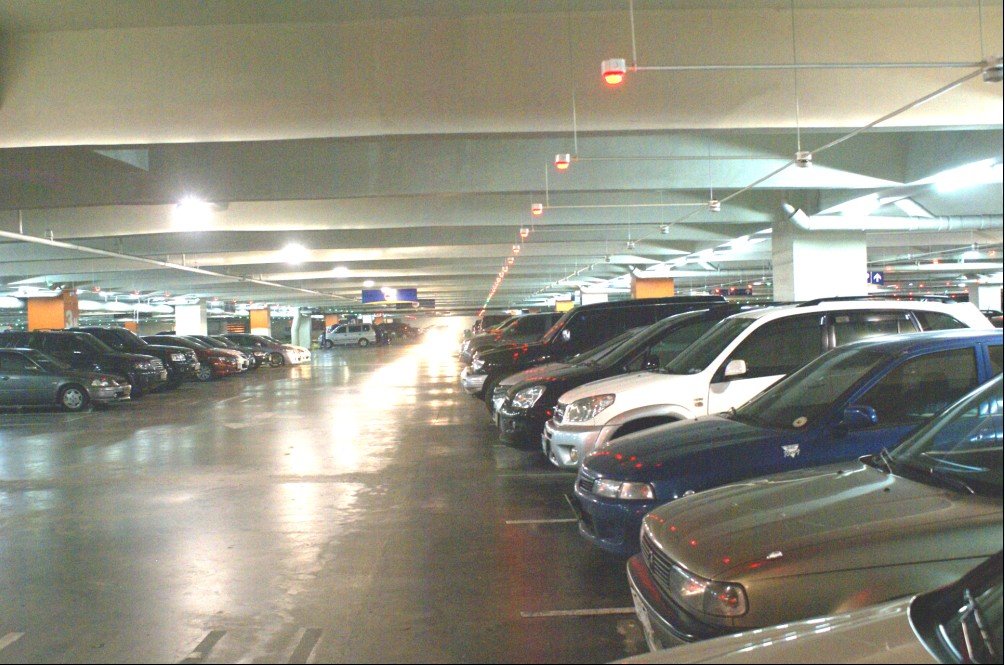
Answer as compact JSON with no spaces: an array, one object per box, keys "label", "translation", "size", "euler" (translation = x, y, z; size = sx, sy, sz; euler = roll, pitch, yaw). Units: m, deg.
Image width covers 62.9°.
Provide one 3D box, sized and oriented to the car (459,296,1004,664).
[{"label":"car","translation":[3.369,1.354,12.078],"size":[7.173,3.259,3.877],"euler":[2,0,-1]}]
